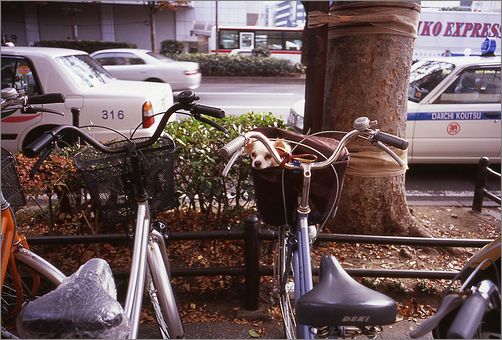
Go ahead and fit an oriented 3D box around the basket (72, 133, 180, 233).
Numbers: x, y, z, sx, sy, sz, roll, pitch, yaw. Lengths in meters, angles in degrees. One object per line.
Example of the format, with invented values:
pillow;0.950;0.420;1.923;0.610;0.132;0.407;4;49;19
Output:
basket;-1.070;0.090;4.056;0.923;0.653;0.521;-13;19;-22

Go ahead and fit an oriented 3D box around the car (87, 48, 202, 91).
car;-3.147;-2.985;12.959;3.159;0.977;1.345;9;18;-4

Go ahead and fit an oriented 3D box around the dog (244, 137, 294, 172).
dog;0.165;-0.120;4.046;0.382;0.271;0.559;6;1;20
